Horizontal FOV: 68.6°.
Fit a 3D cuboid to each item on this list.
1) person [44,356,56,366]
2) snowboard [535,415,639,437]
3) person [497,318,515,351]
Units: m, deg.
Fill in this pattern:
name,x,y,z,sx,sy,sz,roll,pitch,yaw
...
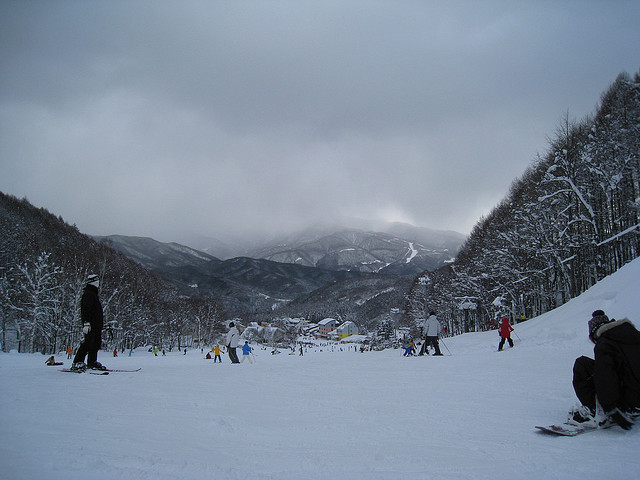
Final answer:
name,x,y,z,sx,sy,sz,roll,pitch,yaw
person,-8.678,3.925,15.144,0.208,0.324,1.425,8,-18,-29
snowboard,4.679,3.485,8.687,1.330,0.260,0.584,3,-16,-11
person,8.545,4.394,21.651,0.659,1.526,2.192,-6,-16,21
